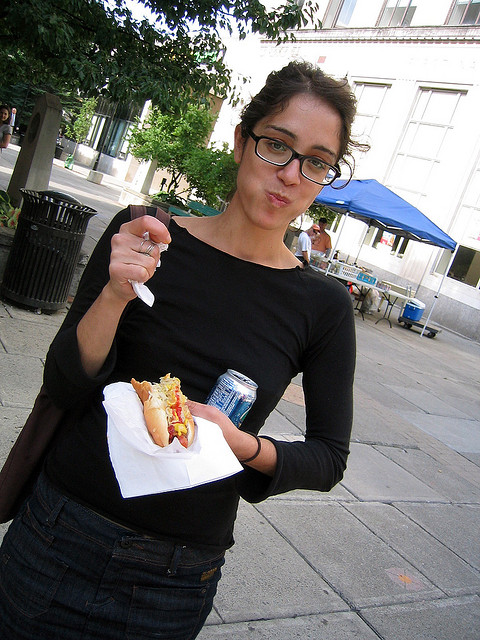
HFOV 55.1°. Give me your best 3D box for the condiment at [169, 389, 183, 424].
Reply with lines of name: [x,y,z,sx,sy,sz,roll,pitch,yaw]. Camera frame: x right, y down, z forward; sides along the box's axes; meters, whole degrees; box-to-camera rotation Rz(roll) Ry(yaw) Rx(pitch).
condiment: [-0.112,0.159,0.839,0.013,0.052,0.013,5,-23,-22]

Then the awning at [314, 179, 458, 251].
awning: [4.268,-3.342,13.536,3.838,1.628,1.551,20,10,1]

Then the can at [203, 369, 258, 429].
can: [-0.011,0.177,1.008,0.078,0.125,0.074,19,23,-8]

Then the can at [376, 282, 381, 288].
can: [4.447,-1.137,14.846,0.156,0.246,0.270,3,4,5]

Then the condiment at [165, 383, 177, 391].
condiment: [-0.132,0.130,0.894,0.020,0.008,0.020,14,12,-33]

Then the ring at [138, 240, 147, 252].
ring: [-0.183,-0.139,0.860,0.005,0.024,0.006,26,11,13]

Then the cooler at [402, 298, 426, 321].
cooler: [6.318,-0.385,16.794,0.843,0.759,0.692,5,2,39]

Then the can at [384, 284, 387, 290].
can: [4.733,-1.082,15.052,0.053,0.126,0.465,25,11,14]

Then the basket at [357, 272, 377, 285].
basket: [3.864,-1.255,14.084,0.557,0.295,0.304,22,10,9]

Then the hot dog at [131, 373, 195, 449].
hot dog: [-0.142,0.166,0.863,0.069,0.041,0.141,16,28,-38]

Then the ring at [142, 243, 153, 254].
ring: [-0.173,-0.133,0.859,0.004,0.017,0.017,39,45,-1]

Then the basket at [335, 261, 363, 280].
basket: [3.469,-1.472,14.530,0.829,0.245,0.606,14,0,-42]
